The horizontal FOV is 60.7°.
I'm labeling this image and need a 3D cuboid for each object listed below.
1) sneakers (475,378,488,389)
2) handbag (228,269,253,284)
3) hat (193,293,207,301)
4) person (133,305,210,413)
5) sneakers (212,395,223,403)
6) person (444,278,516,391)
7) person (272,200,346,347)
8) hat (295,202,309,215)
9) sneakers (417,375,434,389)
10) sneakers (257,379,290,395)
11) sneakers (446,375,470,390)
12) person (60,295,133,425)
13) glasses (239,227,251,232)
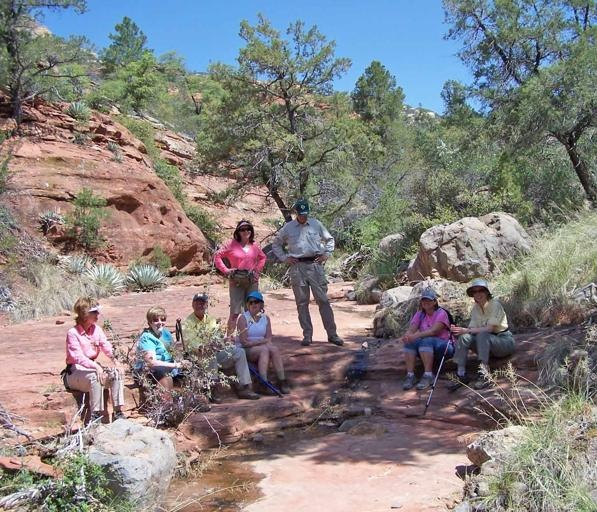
[{"bbox_3d":[2.020,1.385,5.626,0.162,0.088,0.142,-6,-5,10],"label":"sneakers"},{"bbox_3d":[-0.790,0.266,6.888,0.222,0.099,0.195,0,5,-32],"label":"handbag"},{"bbox_3d":[-1.192,0.488,6.138,0.163,0.106,0.212,-4,-5,-8],"label":"hat"},{"bbox_3d":[-1.498,1.005,5.579,0.545,0.910,0.560,-1,-6,-37],"label":"person"},{"bbox_3d":[-0.970,1.663,6.002,0.142,0.102,0.053,3,4,32],"label":"sneakers"},{"bbox_3d":[2.189,0.969,6.118,0.928,1.371,0.647,13,-24,-19],"label":"person"},{"bbox_3d":[0.109,0.237,7.527,0.863,2.244,0.870,-5,-4,9],"label":"person"},{"bbox_3d":[0.036,-0.688,7.311,0.192,0.218,0.242,-5,-5,-1],"label":"hat"},{"bbox_3d":[1.517,1.485,6.101,0.103,0.107,0.269,-31,-9,31],"label":"sneakers"},{"bbox_3d":[-0.340,1.632,6.332,0.428,0.170,0.208,-6,-5,10],"label":"sneakers"},{"bbox_3d":[1.842,1.445,5.916,0.252,0.158,0.462,-6,-5,16],"label":"sneakers"},{"bbox_3d":[-2.088,1.023,5.125,0.579,1.223,0.741,-3,-5,-21],"label":"person"},{"bbox_3d":[-0.740,-0.366,7.013,0.154,0.049,0.081,-4,-5,-18],"label":"glasses"}]
